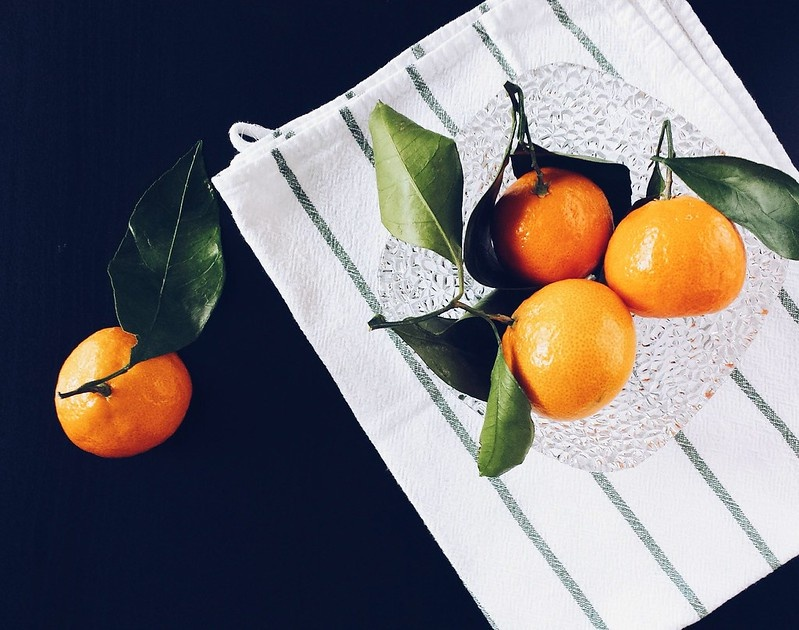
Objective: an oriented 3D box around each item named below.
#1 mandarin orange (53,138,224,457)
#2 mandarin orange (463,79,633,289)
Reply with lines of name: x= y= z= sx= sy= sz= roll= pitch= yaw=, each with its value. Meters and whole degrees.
mandarin orange: x=-0.242 y=0.004 z=0.974 sx=0.117 sy=0.125 sz=0.327 roll=12 pitch=105 yaw=-5
mandarin orange: x=0.132 y=-0.110 z=0.869 sx=0.088 sy=0.095 sz=0.139 roll=-23 pitch=63 yaw=-20
